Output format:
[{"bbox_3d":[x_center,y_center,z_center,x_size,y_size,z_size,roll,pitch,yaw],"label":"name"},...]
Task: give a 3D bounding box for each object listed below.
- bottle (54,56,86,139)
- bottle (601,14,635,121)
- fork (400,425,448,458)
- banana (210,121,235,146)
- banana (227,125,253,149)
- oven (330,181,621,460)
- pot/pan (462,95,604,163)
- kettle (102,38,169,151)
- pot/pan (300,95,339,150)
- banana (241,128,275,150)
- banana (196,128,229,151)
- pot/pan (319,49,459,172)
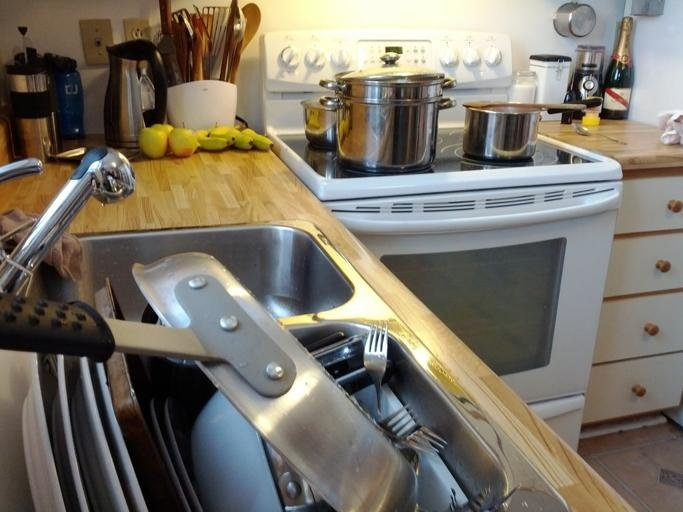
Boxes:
[{"bbox_3d":[-0.887,-0.505,1.605,0.078,0.247,0.094,-14,26,-42],"label":"bottle"},{"bbox_3d":[1.141,-0.764,2.022,0.118,0.392,0.167,13,24,30],"label":"bottle"},{"bbox_3d":[0.088,0.196,0.524,0.025,0.008,0.028,9,23,0],"label":"fork"},{"bbox_3d":[-0.358,-0.371,1.510,0.056,0.028,0.077,-12,48,-30],"label":"banana"},{"bbox_3d":[-0.311,-0.374,1.530,0.042,0.031,0.092,-21,41,-16],"label":"banana"},{"bbox_3d":[0.329,0.088,1.745,0.713,0.875,0.743,-3,20,-22],"label":"oven"},{"bbox_3d":[0.530,-0.392,1.425,0.313,0.183,0.191,1,26,-1],"label":"pot/pan"},{"bbox_3d":[-0.602,-0.465,1.433,0.195,0.296,0.106,-2,20,-9],"label":"kettle"},{"bbox_3d":[-0.072,-0.408,1.543,0.115,0.180,0.121,-1,23,-11],"label":"pot/pan"},{"bbox_3d":[-0.258,-0.350,1.547,0.049,0.047,0.108,29,7,5],"label":"banana"},{"bbox_3d":[-0.387,-0.340,1.510,0.102,0.060,0.036,17,7,37],"label":"banana"},{"bbox_3d":[0.132,-0.366,1.288,0.327,0.296,0.273,0,25,-2],"label":"pot/pan"}]
